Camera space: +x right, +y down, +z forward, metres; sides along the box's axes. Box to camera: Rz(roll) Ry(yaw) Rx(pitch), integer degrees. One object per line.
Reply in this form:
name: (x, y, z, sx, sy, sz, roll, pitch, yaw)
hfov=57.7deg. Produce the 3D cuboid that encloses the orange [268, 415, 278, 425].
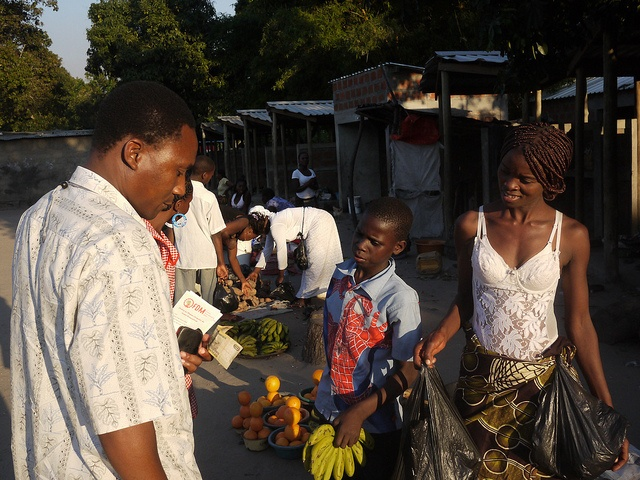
orange: (-0.416, 1.641, 5.200, 0.052, 0.072, 0.056, -1, 6, -2)

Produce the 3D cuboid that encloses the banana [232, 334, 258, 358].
banana: (-0.871, 1.346, 7.093, 0.221, 0.097, 0.214, 31, 17, 39)

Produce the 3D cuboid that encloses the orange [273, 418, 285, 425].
orange: (-0.353, 1.641, 5.170, 0.046, 0.063, 0.048, 2, 1, 33)

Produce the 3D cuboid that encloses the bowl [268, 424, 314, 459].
bowl: (-0.271, 1.808, 4.940, 0.289, 0.120, 0.311, 5, -6, 1)

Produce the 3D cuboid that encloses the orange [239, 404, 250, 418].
orange: (-0.698, 1.617, 5.394, 0.089, 0.092, 0.088, 36, -22, -32)

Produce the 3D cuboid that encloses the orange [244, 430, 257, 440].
orange: (-0.601, 1.717, 5.024, 0.071, 0.080, 0.076, 11, 29, 18)

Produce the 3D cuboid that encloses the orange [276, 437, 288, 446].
orange: (-0.312, 1.705, 4.863, 0.057, 0.075, 0.059, -24, 7, -23)

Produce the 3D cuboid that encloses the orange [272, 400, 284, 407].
orange: (-0.399, 1.573, 5.512, 0.064, 0.056, 0.052, -14, 1, -1)

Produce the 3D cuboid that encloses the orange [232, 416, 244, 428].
orange: (-0.751, 1.682, 5.329, 0.090, 0.076, 0.099, -1, 39, 7)

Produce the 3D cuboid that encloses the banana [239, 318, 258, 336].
banana: (-0.932, 1.185, 7.646, 0.103, 0.171, 0.218, -1, -3, -26)

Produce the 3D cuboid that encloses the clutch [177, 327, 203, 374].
clutch: (-0.685, 0.588, 3.059, 0.092, 0.353, 0.089, 8, 47, -18)

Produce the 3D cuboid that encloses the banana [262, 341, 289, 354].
banana: (-0.554, 1.336, 7.060, 0.132, 0.090, 0.205, -21, 18, -36)

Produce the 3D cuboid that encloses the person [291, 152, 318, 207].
person: (-0.424, -1.647, 16.471, 0.700, 1.522, 1.137, -3, 11, 0)

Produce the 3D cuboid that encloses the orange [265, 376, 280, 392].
orange: (-0.464, 1.475, 5.793, 0.120, 0.187, 0.237, -4, 11, -2)

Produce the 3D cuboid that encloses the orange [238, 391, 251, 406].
orange: (-0.720, 1.559, 5.593, 0.102, 0.122, 0.104, -36, 24, 24)

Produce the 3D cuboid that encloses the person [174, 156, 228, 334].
person: (-1.716, 0.098, 8.047, 0.865, 2.527, 0.640, 2, 30, -8)

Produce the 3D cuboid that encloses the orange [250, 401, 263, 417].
orange: (-0.574, 1.555, 5.287, 0.106, 0.119, 0.114, -2, 2, -6)

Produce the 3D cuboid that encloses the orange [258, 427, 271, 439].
orange: (-0.472, 1.705, 5.042, 0.069, 0.093, 0.071, 0, 6, -28)

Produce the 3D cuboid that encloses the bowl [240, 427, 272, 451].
bowl: (-0.538, 1.750, 5.017, 0.164, 0.110, 0.183, 2, 9, -15)

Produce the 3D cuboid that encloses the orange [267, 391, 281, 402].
orange: (-0.434, 1.551, 5.659, 0.076, 0.097, 0.080, -12, 46, -18)

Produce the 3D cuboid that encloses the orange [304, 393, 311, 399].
orange: (-0.111, 1.521, 5.568, 0.044, 0.043, 0.041, 9, 4, -11)

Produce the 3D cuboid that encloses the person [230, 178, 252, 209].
person: (-2.159, -1.163, 15.965, 0.529, 0.817, 1.697, -5, 11, -8)

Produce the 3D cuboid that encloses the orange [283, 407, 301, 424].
orange: (-0.229, 1.595, 5.126, 0.125, 0.160, 0.136, -17, 37, 13)

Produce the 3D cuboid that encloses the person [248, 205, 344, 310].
person: (-0.401, 0.197, 8.920, 1.481, 1.413, 0.960, -4, 9, -1)
